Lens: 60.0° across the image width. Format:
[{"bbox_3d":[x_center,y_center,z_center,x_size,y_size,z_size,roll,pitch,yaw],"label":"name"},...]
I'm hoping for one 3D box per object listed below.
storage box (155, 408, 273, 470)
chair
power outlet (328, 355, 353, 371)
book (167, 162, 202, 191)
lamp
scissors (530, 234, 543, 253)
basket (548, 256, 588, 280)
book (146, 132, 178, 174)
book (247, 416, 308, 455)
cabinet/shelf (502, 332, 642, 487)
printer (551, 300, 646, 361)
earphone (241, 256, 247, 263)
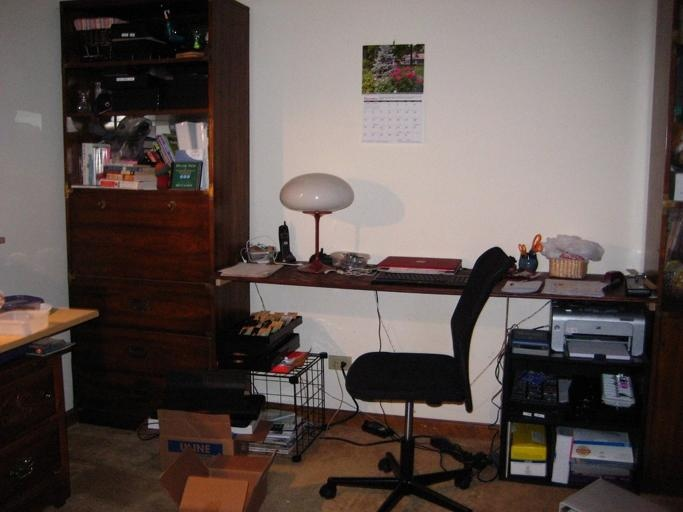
[{"bbox_3d":[-0.775,0.943,3.225,0.539,0.365,0.290,2,7,8],"label":"storage box"},{"bbox_3d":[0.391,0.572,3.634,1.284,1.711,1.162,2,4,2],"label":"chair"},{"bbox_3d":[-0.002,0.675,3.746,0.171,0.115,0.023,2,12,10],"label":"power outlet"},{"bbox_3d":[-0.923,-0.469,3.494,0.206,0.168,0.068,3,12,23],"label":"book"},{"bbox_3d":[-0.187,-0.217,3.553,0.545,0.617,0.538,0,5,1],"label":"lamp"},{"bbox_3d":[1.126,-0.070,3.391,0.041,0.097,0.098,7,-1,11],"label":"scissors"},{"bbox_3d":[1.267,0.068,3.296,0.150,0.094,0.148,2,7,18],"label":"basket"},{"bbox_3d":[-1.086,-0.617,3.644,0.188,0.247,0.076,-17,-9,33],"label":"book"},{"bbox_3d":[-0.383,1.054,3.441,0.218,0.080,0.261,1,9,3],"label":"book"},{"bbox_3d":[1.242,0.836,3.145,0.844,0.796,0.480,1,-3,7],"label":"cabinet/shelf"},{"bbox_3d":[1.348,0.350,3.057,0.422,0.252,0.297,1,3,17],"label":"printer"},{"bbox_3d":[-0.612,0.027,3.716,0.033,0.032,0.014,20,21,29],"label":"earphone"}]
